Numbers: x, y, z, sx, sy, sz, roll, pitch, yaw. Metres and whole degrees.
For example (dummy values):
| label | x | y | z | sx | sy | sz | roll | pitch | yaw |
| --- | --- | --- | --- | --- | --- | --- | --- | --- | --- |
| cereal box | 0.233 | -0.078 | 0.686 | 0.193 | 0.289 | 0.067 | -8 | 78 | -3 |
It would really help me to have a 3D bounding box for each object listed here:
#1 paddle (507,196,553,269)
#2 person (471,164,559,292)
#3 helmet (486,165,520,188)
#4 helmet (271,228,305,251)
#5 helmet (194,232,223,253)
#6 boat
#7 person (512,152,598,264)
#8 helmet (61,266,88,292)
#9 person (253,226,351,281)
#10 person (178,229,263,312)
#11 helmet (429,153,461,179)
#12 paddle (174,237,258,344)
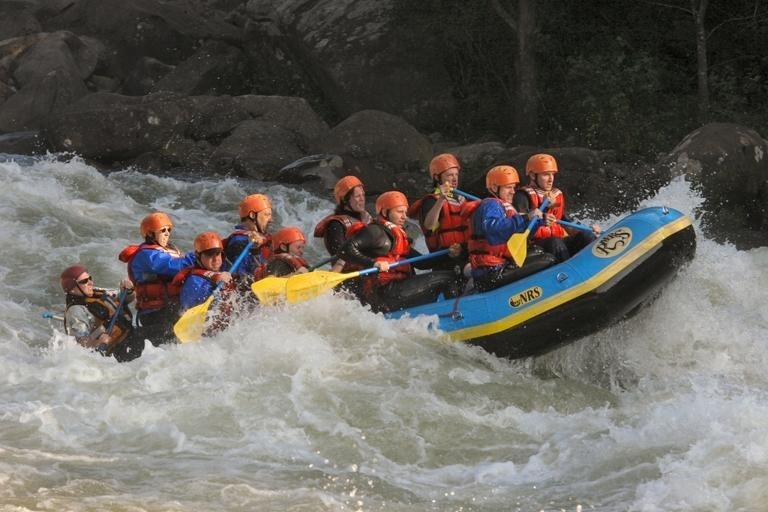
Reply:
| label | x | y | z | sx | sy | sz | roll | pitch | yaw |
| --- | --- | --- | --- | --- | --- | --- | --- | --- | --- |
| paddle | 1.486 | -0.158 | 13.263 | 0.209 | 0.534 | 0.468 | 15 | 22 | 27 |
| person | 1.433 | -0.317 | 13.518 | 1.130 | 1.162 | 1.089 | -1 | 5 | 26 |
| helmet | 1.270 | -0.830 | 13.527 | 0.335 | 0.215 | 0.250 | -27 | -14 | 37 |
| helmet | -1.057 | -0.193 | 13.865 | 0.343 | 0.224 | 0.239 | -27 | -4 | 19 |
| helmet | -1.834 | -0.139 | 13.471 | 0.315 | 0.191 | 0.208 | -16 | 1 | 20 |
| boat | 1.258 | 0.485 | 13.591 | 4.251 | 0.719 | 2.193 | -13 | 0 | 10 |
| person | 1.910 | -0.502 | 13.499 | 1.044 | 1.007 | 0.989 | -1 | 17 | -27 |
| helmet | -3.381 | 0.260 | 13.611 | 0.222 | 0.293 | 0.239 | -14 | 26 | -40 |
| person | -0.955 | -0.030 | 13.950 | 0.877 | 0.576 | 0.539 | -16 | -3 | 11 |
| person | -1.732 | 0.201 | 13.578 | 0.555 | 1.092 | 0.799 | 31 | 19 | 18 |
| helmet | 0.626 | -0.988 | 13.845 | 0.405 | 0.238 | 0.280 | -2 | -2 | 30 |
| paddle | -1.800 | 0.424 | 13.474 | 1.645 | 0.358 | 0.116 | -44 | 6 | -22 |
